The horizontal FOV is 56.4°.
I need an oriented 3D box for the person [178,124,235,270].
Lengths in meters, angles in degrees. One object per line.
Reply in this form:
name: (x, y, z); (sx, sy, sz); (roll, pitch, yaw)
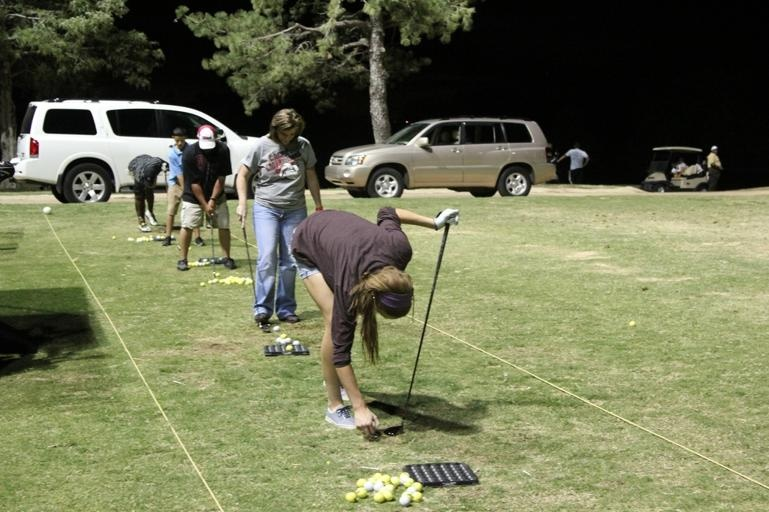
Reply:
person: (-2.490, -0.807, 10.016); (0.988, 1.867, 0.745); (-4, 10, -25)

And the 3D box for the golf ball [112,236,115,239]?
golf ball: (-4.740, -0.313, 12.570); (0.066, 0.050, 0.083); (3, -1, -20)

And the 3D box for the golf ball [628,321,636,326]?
golf ball: (2.741, 0.750, 7.920); (0.060, 0.025, 0.052); (-4, 21, 20)

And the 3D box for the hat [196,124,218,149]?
hat: (-2.395, -1.595, 9.731); (0.239, 0.313, 0.382); (1, 8, -13)

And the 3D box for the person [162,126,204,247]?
person: (-3.324, -1.131, 11.661); (1.074, 1.967, 0.755); (1, 1, 29)

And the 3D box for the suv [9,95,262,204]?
suv: (-6.558, -2.616, 18.146); (2.742, 2.272, 7.129); (10, 14, 33)
